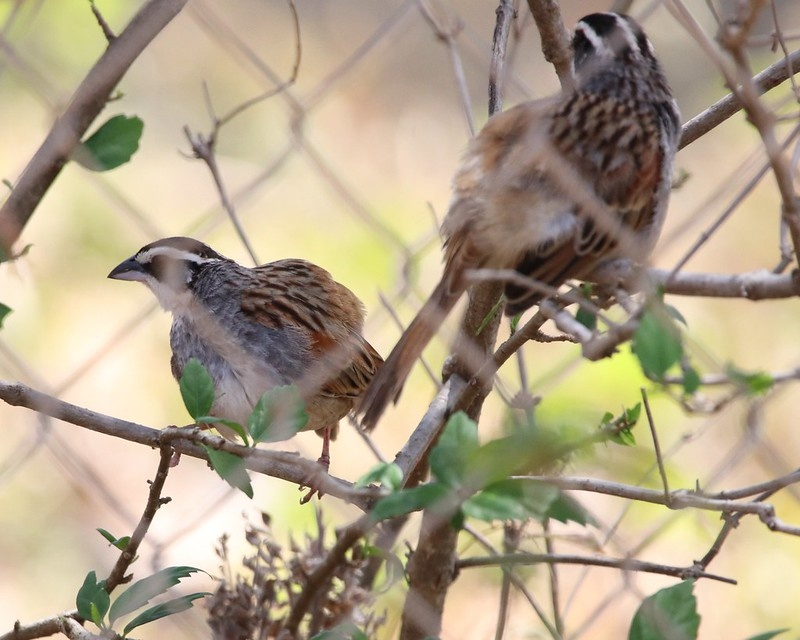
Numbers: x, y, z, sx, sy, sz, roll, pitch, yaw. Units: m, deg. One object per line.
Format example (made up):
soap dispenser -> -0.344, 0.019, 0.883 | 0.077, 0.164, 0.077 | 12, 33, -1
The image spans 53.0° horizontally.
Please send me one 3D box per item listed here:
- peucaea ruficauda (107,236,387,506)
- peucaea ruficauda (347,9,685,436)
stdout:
peucaea ruficauda -> -0.590, 0.051, 3.035 | 1.054, 0.735, 0.476 | 20, -70, -2
peucaea ruficauda -> 0.496, -0.536, 2.545 | 0.831, 0.675, 0.709 | -14, -72, 10
